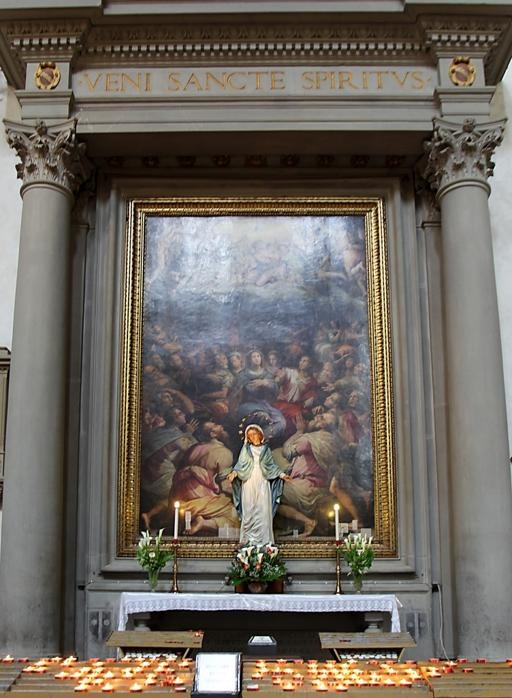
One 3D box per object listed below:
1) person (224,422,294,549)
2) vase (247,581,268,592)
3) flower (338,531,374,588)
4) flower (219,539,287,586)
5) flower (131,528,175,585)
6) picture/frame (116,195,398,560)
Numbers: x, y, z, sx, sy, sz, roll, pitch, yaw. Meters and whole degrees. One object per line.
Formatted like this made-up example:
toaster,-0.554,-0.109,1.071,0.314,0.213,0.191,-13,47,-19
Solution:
person,-0.008,1.151,6.878,0.469,1.016,0.402,-7,-14,21
vase,0.008,1.900,6.470,0.160,0.083,0.095,-1,-13,-2
flower,0.857,1.796,6.850,0.285,0.481,0.510,-3,-13,7
flower,-0.029,1.695,6.545,0.377,0.207,0.379,-4,-5,9
flower,-0.851,1.760,6.846,0.352,0.508,0.469,-11,-13,38
picture/frame,-0.006,0.392,7.414,3.499,4.364,0.218,-1,-18,-1
